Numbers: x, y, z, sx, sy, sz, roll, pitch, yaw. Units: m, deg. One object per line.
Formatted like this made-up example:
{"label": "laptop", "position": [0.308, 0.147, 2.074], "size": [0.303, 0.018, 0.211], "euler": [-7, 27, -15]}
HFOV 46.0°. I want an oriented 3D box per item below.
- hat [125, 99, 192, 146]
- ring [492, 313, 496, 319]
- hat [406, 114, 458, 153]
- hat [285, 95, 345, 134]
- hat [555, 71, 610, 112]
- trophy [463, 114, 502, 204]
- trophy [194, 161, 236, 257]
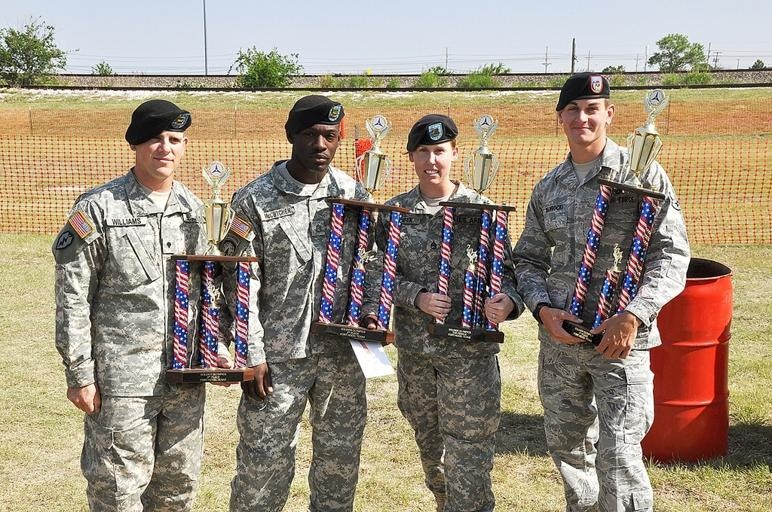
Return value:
{"label": "hat", "position": [-1.958, -1.158, 7.825], "size": [0.541, 0.233, 0.383], "euler": [0, 17, 23]}
{"label": "ring", "position": [0.967, 0.547, 8.217], "size": [0.050, 0.050, 0.013], "euler": [2, 16, 14]}
{"label": "hat", "position": [0.412, -1.123, 8.425], "size": [0.457, 0.347, 0.256], "euler": [-1, 15, 2]}
{"label": "hat", "position": [-0.647, -1.251, 8.118], "size": [0.509, 0.346, 0.251], "euler": [-3, 15, -5]}
{"label": "hat", "position": [1.757, -1.476, 8.190], "size": [0.457, 0.350, 0.266], "euler": [1, 15, 9]}
{"label": "trophy", "position": [0.847, -0.921, 8.567], "size": [0.326, 0.742, 0.368], "euler": [3, -3, -1]}
{"label": "trophy", "position": [-1.478, -0.406, 8.000], "size": [0.308, 0.805, 0.337], "euler": [2, -1, -4]}
